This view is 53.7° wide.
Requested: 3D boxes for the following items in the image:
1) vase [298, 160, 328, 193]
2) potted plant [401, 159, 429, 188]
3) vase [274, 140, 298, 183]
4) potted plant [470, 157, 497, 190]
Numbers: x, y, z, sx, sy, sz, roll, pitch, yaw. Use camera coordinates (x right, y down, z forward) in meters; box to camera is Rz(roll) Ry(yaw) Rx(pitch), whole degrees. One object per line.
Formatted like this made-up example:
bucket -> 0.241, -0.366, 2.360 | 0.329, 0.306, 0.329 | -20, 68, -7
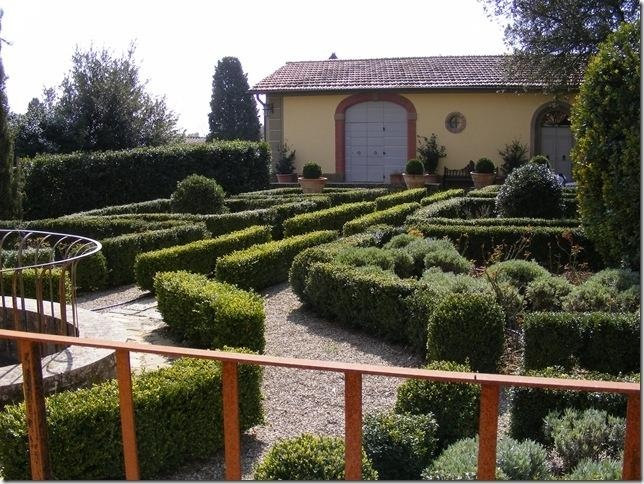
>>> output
vase -> -0.382, -2.137, 20.694 | 0.952, 1.200, 0.988 | 0, 9, -25
potted plant -> 3.106, -2.272, 21.279 | 0.715, 0.951, 0.799 | 2, 5, 13
vase -> -1.383, -2.895, 24.057 | 0.810, 1.503, 0.817 | 1, -11, -22
potted plant -> 5.430, -2.308, 21.384 | 0.852, 1.161, 0.934 | 3, 11, 17
